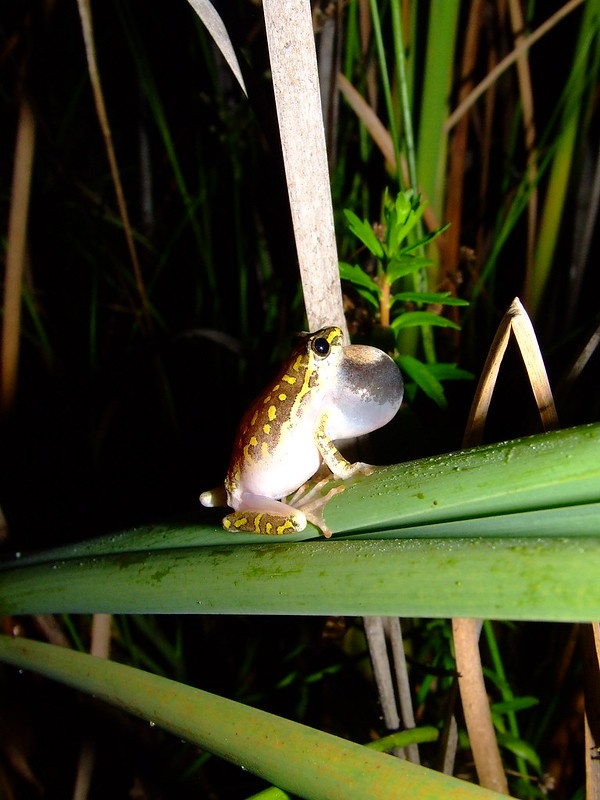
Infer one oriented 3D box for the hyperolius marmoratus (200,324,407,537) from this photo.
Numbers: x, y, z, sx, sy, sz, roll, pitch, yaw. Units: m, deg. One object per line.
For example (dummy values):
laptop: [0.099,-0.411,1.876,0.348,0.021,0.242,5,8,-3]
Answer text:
hyperolius marmoratus: [-0.010,0.025,1.309,0.385,0.260,0.339,-26,22,-25]
